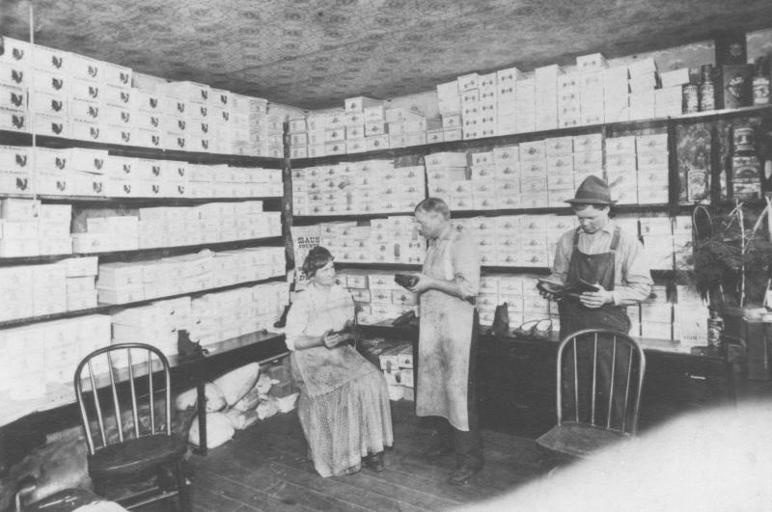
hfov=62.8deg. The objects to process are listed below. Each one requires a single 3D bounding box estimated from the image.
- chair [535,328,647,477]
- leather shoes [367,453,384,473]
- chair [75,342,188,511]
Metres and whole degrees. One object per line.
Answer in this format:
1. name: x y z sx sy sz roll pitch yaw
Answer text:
1. chair: 1.519 1.076 4.584 0.679 1.202 1.252 1 7 21
2. leather shoes: -0.084 1.623 5.029 0.154 0.057 0.151 -5 8 -43
3. chair: -1.900 1.238 4.750 0.700 1.285 1.282 -4 7 -21
